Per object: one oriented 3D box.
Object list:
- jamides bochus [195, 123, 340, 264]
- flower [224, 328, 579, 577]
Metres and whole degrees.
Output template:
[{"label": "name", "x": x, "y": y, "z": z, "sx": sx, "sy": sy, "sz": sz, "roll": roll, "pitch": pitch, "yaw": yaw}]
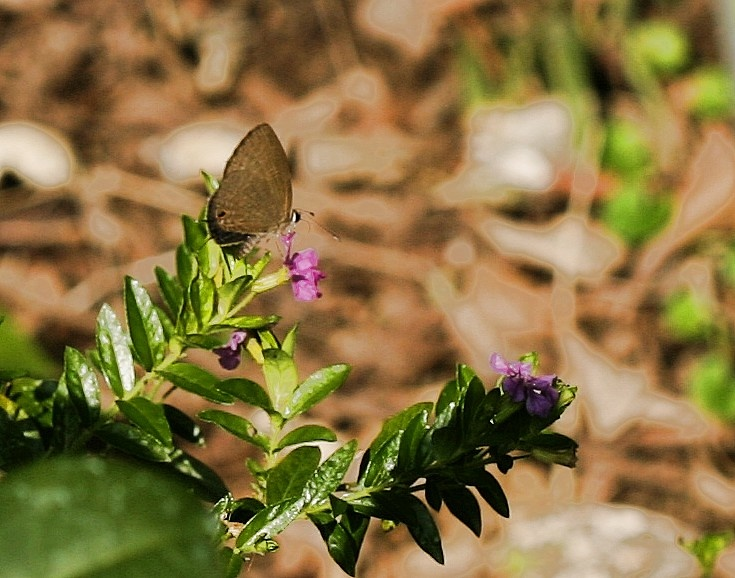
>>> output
[{"label": "jamides bochus", "x": -0.293, "y": -0.244, "z": 2.808, "sx": 0.339, "sy": 0.326, "sz": 0.212, "roll": -11, "pitch": 64, "yaw": -19}, {"label": "flower", "x": 0.113, "y": 0.394, "z": 2.535, "sx": 0.988, "sy": 0.412, "sz": 0.366, "roll": -10, "pitch": 80, "yaw": 15}]
